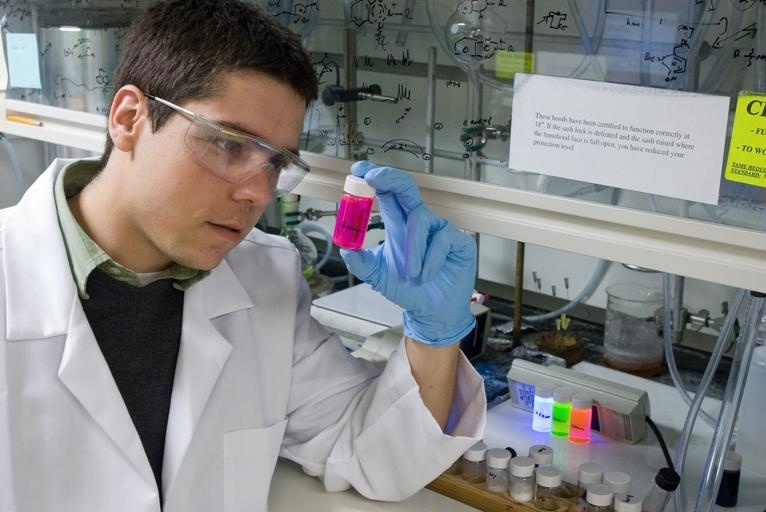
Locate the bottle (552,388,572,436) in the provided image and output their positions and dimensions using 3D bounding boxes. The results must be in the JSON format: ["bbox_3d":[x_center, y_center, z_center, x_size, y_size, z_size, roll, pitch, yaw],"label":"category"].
[{"bbox_3d":[0.568,0.499,1.944,0.042,0.157,0.053,-10,19,-34],"label":"bottle"}]

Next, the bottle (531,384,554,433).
[{"bbox_3d":[0.520,0.490,1.975,0.068,0.156,0.047,7,17,21],"label":"bottle"}]

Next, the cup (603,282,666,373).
[{"bbox_3d":[0.960,0.278,2.329,0.230,0.292,0.222,1,16,0],"label":"cup"}]

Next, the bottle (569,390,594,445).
[{"bbox_3d":[0.640,0.509,1.933,0.101,0.159,0.049,-7,18,-24],"label":"bottle"}]
